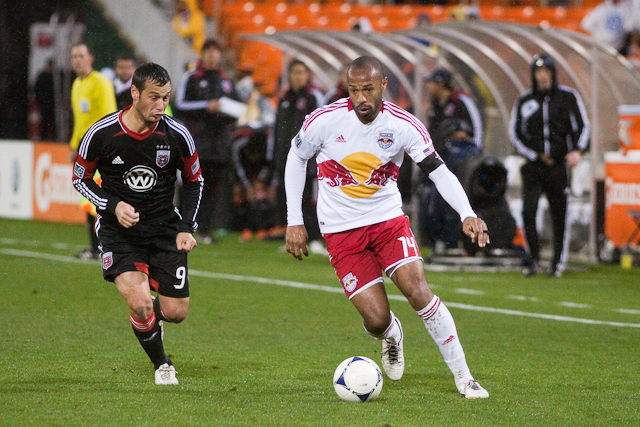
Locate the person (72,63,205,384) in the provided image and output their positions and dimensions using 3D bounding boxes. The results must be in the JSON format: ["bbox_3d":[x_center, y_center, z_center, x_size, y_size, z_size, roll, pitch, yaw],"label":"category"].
[{"bbox_3d":[-1.425,0.063,6.825,0.971,2.496,0.597,-1,9,-9],"label":"person"}]

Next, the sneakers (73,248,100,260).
[{"bbox_3d":[-3.157,0.562,11.474,0.402,0.181,0.140,4,1,14],"label":"sneakers"}]

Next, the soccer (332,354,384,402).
[{"bbox_3d":[0.290,1.261,6.538,0.362,0.290,0.226,0,9,0],"label":"soccer"}]

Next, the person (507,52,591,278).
[{"bbox_3d":[2.750,-0.582,10.424,0.855,2.643,0.710,7,11,39],"label":"person"}]

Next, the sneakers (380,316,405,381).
[{"bbox_3d":[0.608,1.086,6.962,0.175,0.527,0.202,-4,-2,9],"label":"sneakers"}]

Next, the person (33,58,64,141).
[{"bbox_3d":[-4.663,-1.913,14.554,0.278,1.402,1.213,-4,9,-23],"label":"person"}]

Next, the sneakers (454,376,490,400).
[{"bbox_3d":[1.156,1.326,6.479,0.253,0.126,0.132,2,9,12],"label":"sneakers"}]

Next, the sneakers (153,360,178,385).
[{"bbox_3d":[-1.220,1.259,6.788,0.191,0.151,0.205,-2,9,-12],"label":"sneakers"}]
